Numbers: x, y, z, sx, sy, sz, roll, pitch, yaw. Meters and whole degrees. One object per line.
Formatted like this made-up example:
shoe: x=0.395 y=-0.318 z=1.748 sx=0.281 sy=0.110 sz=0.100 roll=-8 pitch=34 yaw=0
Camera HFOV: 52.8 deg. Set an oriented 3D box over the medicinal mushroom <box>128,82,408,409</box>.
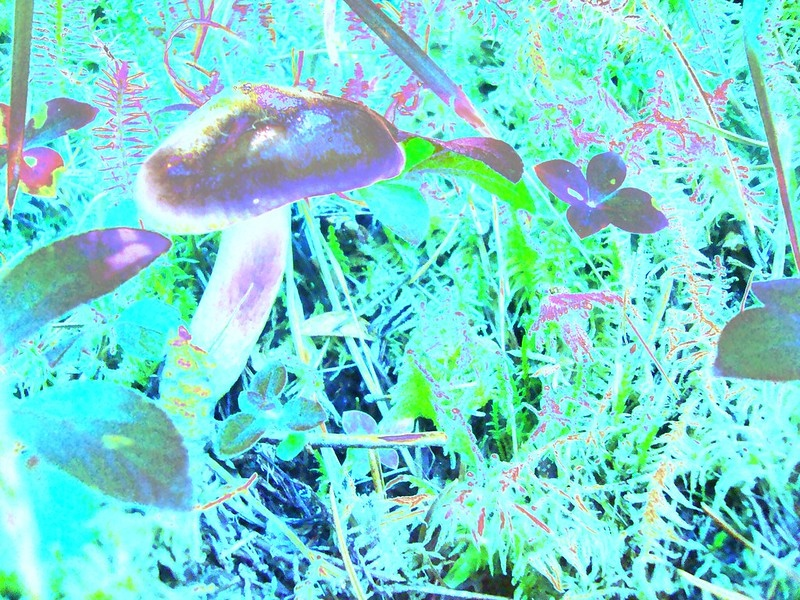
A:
medicinal mushroom: x=-0.229 y=-0.122 z=1.294 sx=0.393 sy=0.448 sz=0.314 roll=-14 pitch=33 yaw=-32
